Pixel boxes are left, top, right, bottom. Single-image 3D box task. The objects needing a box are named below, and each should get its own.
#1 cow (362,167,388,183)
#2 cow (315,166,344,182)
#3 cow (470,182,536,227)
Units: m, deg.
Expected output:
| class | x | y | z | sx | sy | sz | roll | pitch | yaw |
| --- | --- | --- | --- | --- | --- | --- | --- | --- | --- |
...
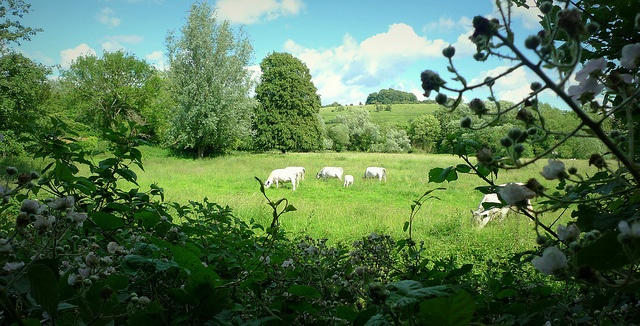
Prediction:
| class | x | y | z | sx | sy | sz | roll | pitch | yaw |
| --- | --- | --- | --- | --- | --- | --- | --- | --- | --- |
| cow | 3.135 | 0.597 | 25.972 | 0.986 | 0.642 | 1.537 | -4 | -1 | -21 |
| cow | 0.687 | 0.606 | 26.754 | 0.815 | 0.596 | 1.635 | -3 | -2 | -44 |
| cow | 5.199 | 0.971 | 12.820 | 1.581 | 0.687 | 0.370 | 2 | 19 | -27 |
